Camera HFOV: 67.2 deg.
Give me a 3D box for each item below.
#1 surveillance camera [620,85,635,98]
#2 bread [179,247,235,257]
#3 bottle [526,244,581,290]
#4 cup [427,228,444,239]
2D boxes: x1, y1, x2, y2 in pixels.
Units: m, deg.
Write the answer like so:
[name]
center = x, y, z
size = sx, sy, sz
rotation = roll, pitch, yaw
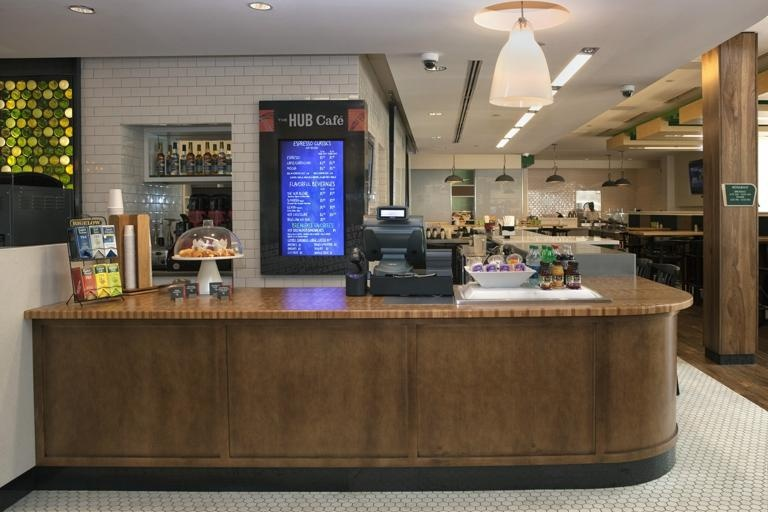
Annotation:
[surveillance camera]
center = 3.295, -2.240, 7.831
size = 0.139, 0.086, 0.137
rotation = 5, 11, 31
[bread]
center = -1.473, -0.025, 4.863
size = 0.449, 0.065, 0.164
rotation = -4, 13, -14
[bottle]
center = 1.488, 0.091, 4.874
size = 0.462, 0.354, 0.396
rotation = 0, -3, -8
[cup]
center = 1.078, -0.473, 12.052
size = 0.276, 0.144, 0.274
rotation = -1, 2, 0
